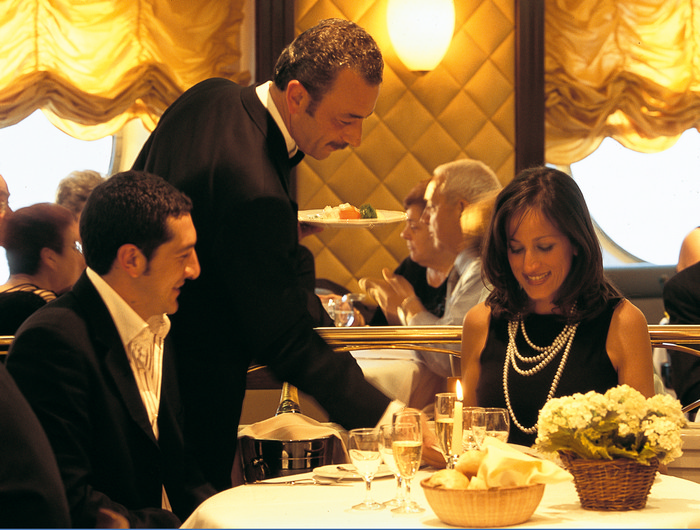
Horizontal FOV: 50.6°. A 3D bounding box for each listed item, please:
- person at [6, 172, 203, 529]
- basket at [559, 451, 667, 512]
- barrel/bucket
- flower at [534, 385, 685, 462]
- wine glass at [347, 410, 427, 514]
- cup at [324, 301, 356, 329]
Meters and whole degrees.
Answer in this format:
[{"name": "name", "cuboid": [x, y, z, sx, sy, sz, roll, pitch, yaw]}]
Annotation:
[{"name": "person", "cuboid": [-0.613, 0.235, 1.929, 0.347, 0.956, 0.492, 5, 9, 43]}, {"name": "basket", "cuboid": [0.566, 0.451, 1.557, 0.130, 0.074, 0.135, -2, -9, 3]}, {"name": "barrel/bucket", "cuboid": [-0.186, 0.532, 2.128, 0.177, 0.134, 0.158, -8, -13, 38]}, {"name": "flower", "cuboid": [0.550, 0.312, 1.579, 0.200, 0.099, 0.201, 4, -9, -36]}, {"name": "wine glass", "cuboid": [0.116, 0.421, 1.642, 0.143, 0.226, 0.233, 3, 8, 32]}, {"name": "cup", "cuboid": [-0.033, 0.174, 2.596, 0.095, 0.099, 0.080, -1, -5, -2]}]
